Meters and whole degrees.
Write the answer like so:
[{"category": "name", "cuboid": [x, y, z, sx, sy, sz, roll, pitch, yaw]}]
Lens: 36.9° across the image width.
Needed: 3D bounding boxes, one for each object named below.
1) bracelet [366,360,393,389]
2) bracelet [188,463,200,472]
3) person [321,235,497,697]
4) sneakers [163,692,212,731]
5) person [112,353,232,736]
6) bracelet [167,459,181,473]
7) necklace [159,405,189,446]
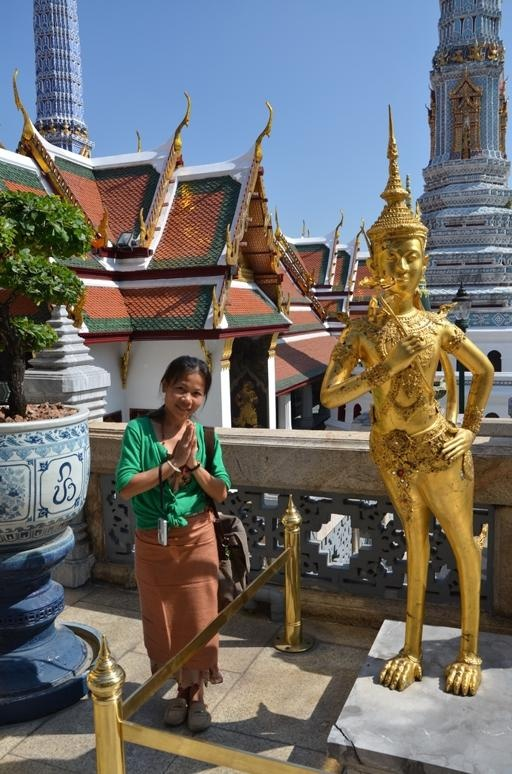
[{"category": "bracelet", "cuboid": [0.429, -0.049, 2.707, 0.071, 0.029, 0.088, -25, 2, 34]}, {"category": "bracelet", "cuboid": [-0.246, 0.324, 3.068, 0.044, 0.015, 0.035, -22, 7, 18]}, {"category": "person", "cuboid": [0.557, 0.275, 2.913, 0.503, 1.659, 0.538, 6, 15, 38]}, {"category": "sneakers", "cuboid": [-0.275, 1.336, 3.122, 0.195, 0.082, 0.128, 4, 13, 30]}, {"category": "person", "cuboid": [-0.329, 0.629, 3.143, 0.427, 1.483, 0.553, -3, 12, 3]}, {"category": "bracelet", "cuboid": [-0.330, 0.315, 3.033, 0.046, 0.012, 0.048, 44, 0, 43]}, {"category": "necklace", "cuboid": [-0.343, 0.174, 3.197, 0.149, 0.150, 0.167, 5, -1, -4]}]
